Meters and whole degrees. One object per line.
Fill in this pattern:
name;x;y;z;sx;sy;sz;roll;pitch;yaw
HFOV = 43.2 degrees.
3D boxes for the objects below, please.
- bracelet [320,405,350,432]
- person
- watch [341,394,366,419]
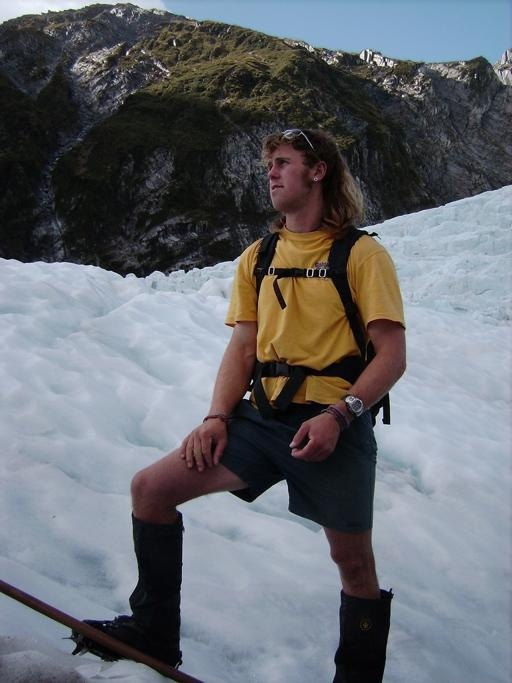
bracelet;0.241;0.230;1.912;0.038;0.064;0.078;-30;15;-15
person;0.150;0.184;2.148;0.894;1.823;0.790;11;10;11
watch;0.291;0.187;1.926;0.057;0.064;0.024;-41;4;-21
